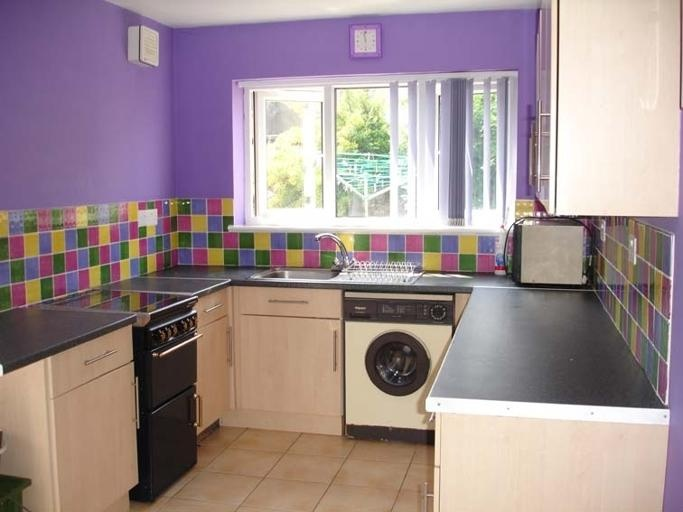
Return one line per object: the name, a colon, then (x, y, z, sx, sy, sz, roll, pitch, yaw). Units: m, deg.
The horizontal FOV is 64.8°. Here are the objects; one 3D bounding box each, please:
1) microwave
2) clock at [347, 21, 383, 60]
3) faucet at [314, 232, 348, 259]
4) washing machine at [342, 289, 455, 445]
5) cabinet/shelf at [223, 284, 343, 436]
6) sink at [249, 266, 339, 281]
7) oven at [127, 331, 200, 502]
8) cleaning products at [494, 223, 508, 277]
microwave: (1.378, -0.019, 3.616, 0.298, 0.452, 0.446, 3, 9, 9)
clock: (0.183, -1.621, 4.036, 0.233, 0.272, 0.054, 0, 4, 11)
faucet: (-0.066, -0.080, 4.045, 0.217, 0.204, 0.417, 0, 9, 1)
washing machine: (0.383, 0.672, 3.935, 0.675, 1.063, 0.674, 1, 9, 4)
cabinet/shelf: (-0.366, 0.667, 4.115, 0.720, 1.089, 0.715, 1, 9, 6)
sink: (-0.358, 0.136, 4.137, 0.646, 0.093, 0.284, -3, 10, -12)
oven: (-1.173, 0.910, 3.209, 0.520, 0.883, 0.580, -1, 1, 16)
cleaning products: (1.178, -0.051, 3.980, 0.072, 0.357, 0.110, 2, 9, 16)
